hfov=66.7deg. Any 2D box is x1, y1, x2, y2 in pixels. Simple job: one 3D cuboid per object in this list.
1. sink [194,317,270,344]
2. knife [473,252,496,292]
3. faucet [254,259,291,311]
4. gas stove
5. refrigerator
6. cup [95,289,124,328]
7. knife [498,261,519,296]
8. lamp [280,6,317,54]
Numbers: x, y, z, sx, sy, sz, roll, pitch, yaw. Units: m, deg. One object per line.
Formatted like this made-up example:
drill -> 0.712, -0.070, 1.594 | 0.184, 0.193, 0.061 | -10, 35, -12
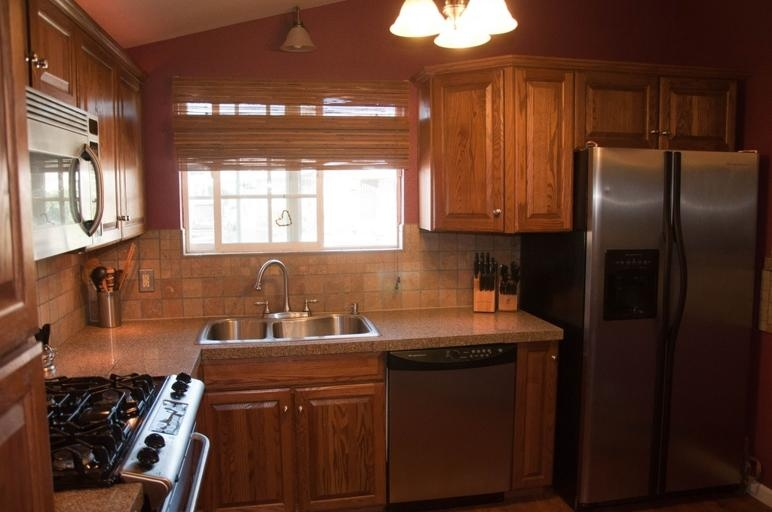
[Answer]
sink -> -0.924, 0.497, 3.535 | 0.364, 0.124, 0.478 | -1, 9, -3
knife -> 0.665, 0.102, 3.966 | 0.147, 0.231, 0.245 | 1, 9, 8
faucet -> -0.731, 0.196, 3.775 | 0.226, 0.344, 0.197 | -2, 10, -13
gas stove -> -1.033, 0.667, 2.307 | 0.418, 0.076, 0.446 | 0, 14, -13
refrigerator -> 1.625, 0.428, 3.575 | 1.147, 2.120, 0.444 | -1, 9, -5
cup -> -1.706, 0.312, 3.630 | 0.140, 0.240, 0.173 | -5, 10, -25
knife -> 0.808, 0.160, 3.900 | 0.113, 0.202, 0.112 | -1, 9, -7
lamp -> -0.552, -1.420, 3.651 | 0.207, 0.280, 0.279 | -1, 9, -9
